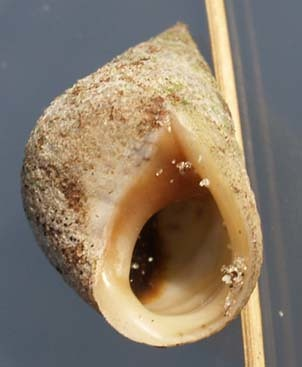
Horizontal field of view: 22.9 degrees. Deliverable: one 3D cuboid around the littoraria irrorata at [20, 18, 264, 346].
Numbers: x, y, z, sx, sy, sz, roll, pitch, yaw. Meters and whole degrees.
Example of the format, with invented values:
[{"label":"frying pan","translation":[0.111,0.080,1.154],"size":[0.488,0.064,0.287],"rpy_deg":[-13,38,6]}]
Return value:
[{"label":"littoraria irrorata","translation":[-0.038,0.030,1.590],"size":[0.465,0.416,0.653],"rpy_deg":[12,71,-15]}]
